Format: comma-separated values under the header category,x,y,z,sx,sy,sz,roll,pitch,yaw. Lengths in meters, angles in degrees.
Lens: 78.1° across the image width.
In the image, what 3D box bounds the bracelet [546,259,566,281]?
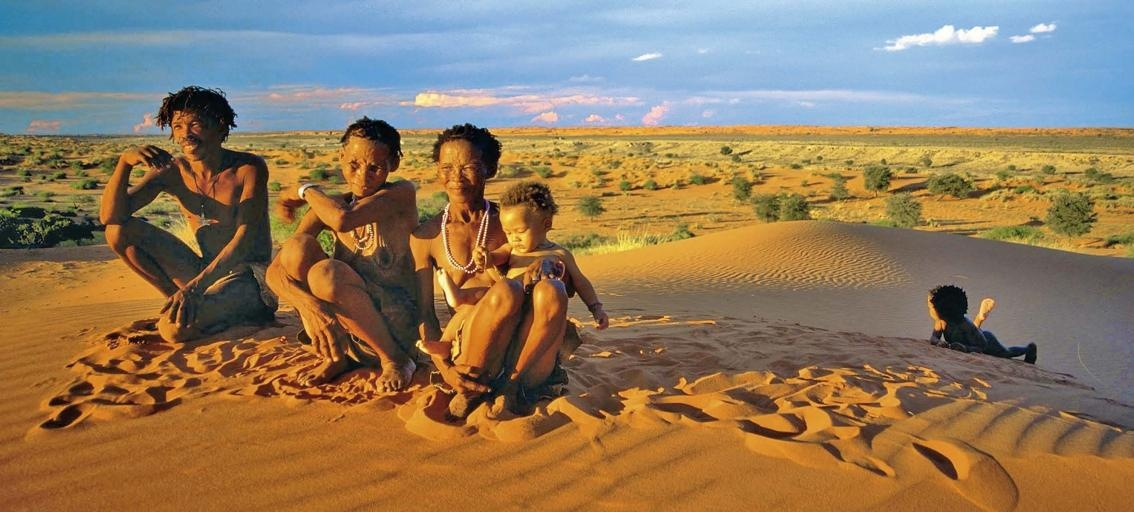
category,x,y,z,sx,sy,sz,roll,pitch,yaw
bracelet,-0.166,0.227,12.434,0.354,0.340,0.157,1,-1,-8

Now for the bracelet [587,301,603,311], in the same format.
category,x,y,z,sx,sy,sz,roll,pitch,yaw
bracelet,0.513,0.897,12.744,0.354,0.132,0.378,2,-4,-12
